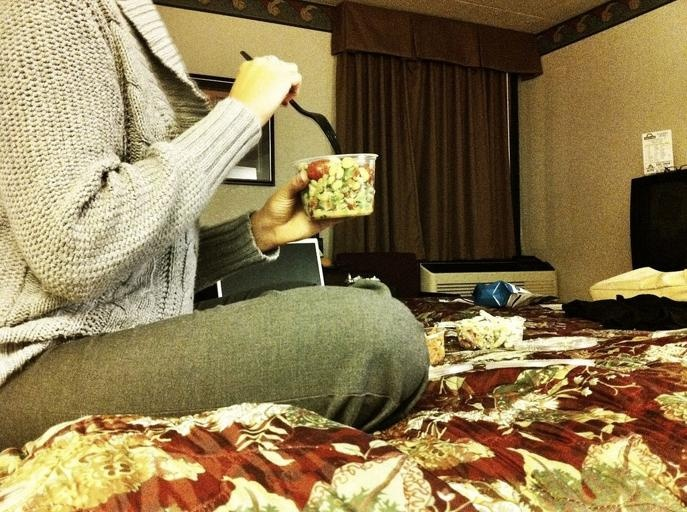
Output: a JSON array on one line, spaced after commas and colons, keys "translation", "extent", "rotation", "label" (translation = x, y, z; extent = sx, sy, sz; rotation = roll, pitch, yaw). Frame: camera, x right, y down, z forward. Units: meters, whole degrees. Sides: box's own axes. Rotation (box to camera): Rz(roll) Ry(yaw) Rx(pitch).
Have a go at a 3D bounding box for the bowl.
[{"translation": [-0.016, -0.159, 1.186], "extent": [0.216, 0.139, 0.212], "rotation": [-4, 7, 0], "label": "bowl"}]
